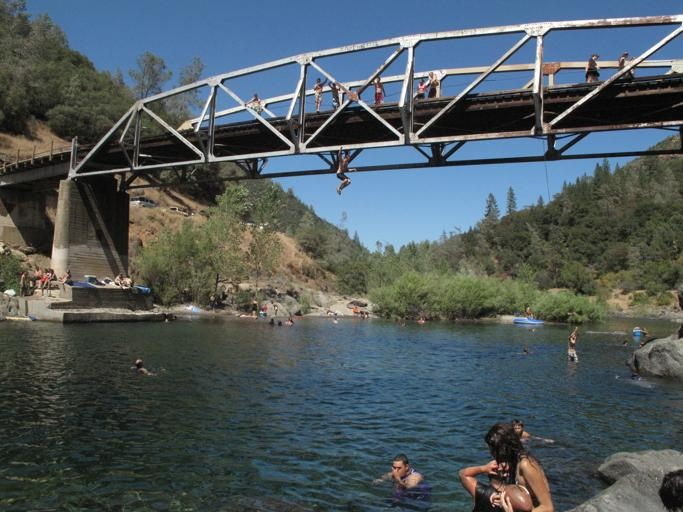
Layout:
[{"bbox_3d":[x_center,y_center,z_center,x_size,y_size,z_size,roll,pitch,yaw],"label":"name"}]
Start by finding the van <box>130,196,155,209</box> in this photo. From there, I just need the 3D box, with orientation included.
[{"bbox_3d":[-33.952,-9.303,97.699,1.932,1.720,4.299,4,9,24],"label":"van"}]

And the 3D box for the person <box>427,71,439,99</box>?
[{"bbox_3d":[5.752,-10.794,35.847,0.600,1.791,0.683,0,-4,13],"label":"person"}]

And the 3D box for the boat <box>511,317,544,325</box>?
[{"bbox_3d":[26.646,9.248,80.837,2.969,0.797,1.779,3,1,-8],"label":"boat"}]

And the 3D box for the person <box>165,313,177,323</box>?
[{"bbox_3d":[-17.706,6.360,59.154,0.839,0.835,0.917,-1,4,-23],"label":"person"}]

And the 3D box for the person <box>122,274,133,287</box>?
[{"bbox_3d":[-21.272,2.437,56.788,0.599,0.948,1.384,-10,15,-14],"label":"person"}]

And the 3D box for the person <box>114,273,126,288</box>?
[{"bbox_3d":[-21.288,2.291,55.006,0.909,1.490,0.862,3,-5,-31],"label":"person"}]
